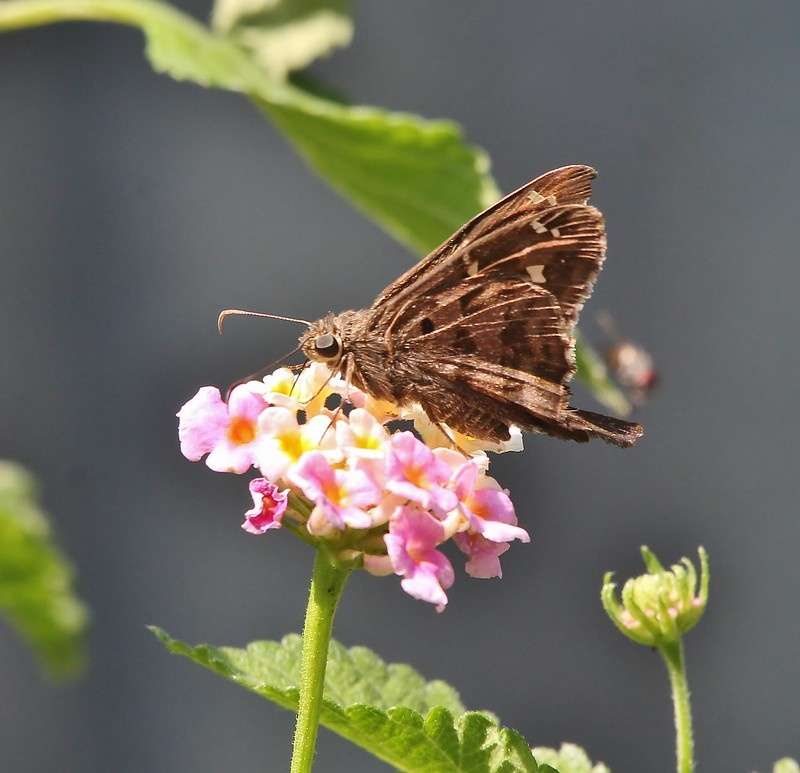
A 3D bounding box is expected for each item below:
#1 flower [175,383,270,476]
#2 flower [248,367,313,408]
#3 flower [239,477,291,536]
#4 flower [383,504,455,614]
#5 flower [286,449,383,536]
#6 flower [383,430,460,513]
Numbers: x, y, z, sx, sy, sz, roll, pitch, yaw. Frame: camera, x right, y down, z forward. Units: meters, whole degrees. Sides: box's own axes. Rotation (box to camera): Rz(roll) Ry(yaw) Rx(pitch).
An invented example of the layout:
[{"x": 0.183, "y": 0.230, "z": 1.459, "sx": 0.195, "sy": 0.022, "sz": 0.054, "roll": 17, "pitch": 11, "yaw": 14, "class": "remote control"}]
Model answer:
[{"x": -0.350, "y": 0.082, "z": 2.427, "sx": 0.176, "sy": 0.134, "sz": 0.200, "roll": 1, "pitch": 17, "yaw": -8, "class": "flower"}, {"x": -0.241, "y": 0.005, "z": 2.537, "sx": 0.108, "sy": 0.041, "sz": 0.103, "roll": 22, "pitch": 35, "yaw": 35, "class": "flower"}, {"x": -0.254, "y": 0.227, "z": 2.441, "sx": 0.054, "sy": 0.112, "sz": 0.123, "roll": 37, "pitch": 5, "yaw": -4, "class": "flower"}, {"x": 0.036, "y": 0.317, "z": 2.295, "sx": 0.135, "sy": 0.156, "sz": 0.189, "roll": 4, "pitch": 17, "yaw": 2, "class": "flower"}, {"x": -0.121, "y": 0.194, "z": 2.275, "sx": 0.168, "sy": 0.074, "sz": 0.153, "roll": 23, "pitch": 36, "yaw": -23, "class": "flower"}, {"x": 0.041, "y": 0.168, "z": 2.313, "sx": 0.144, "sy": 0.127, "sz": 0.160, "roll": 4, "pitch": 17, "yaw": 2, "class": "flower"}]
